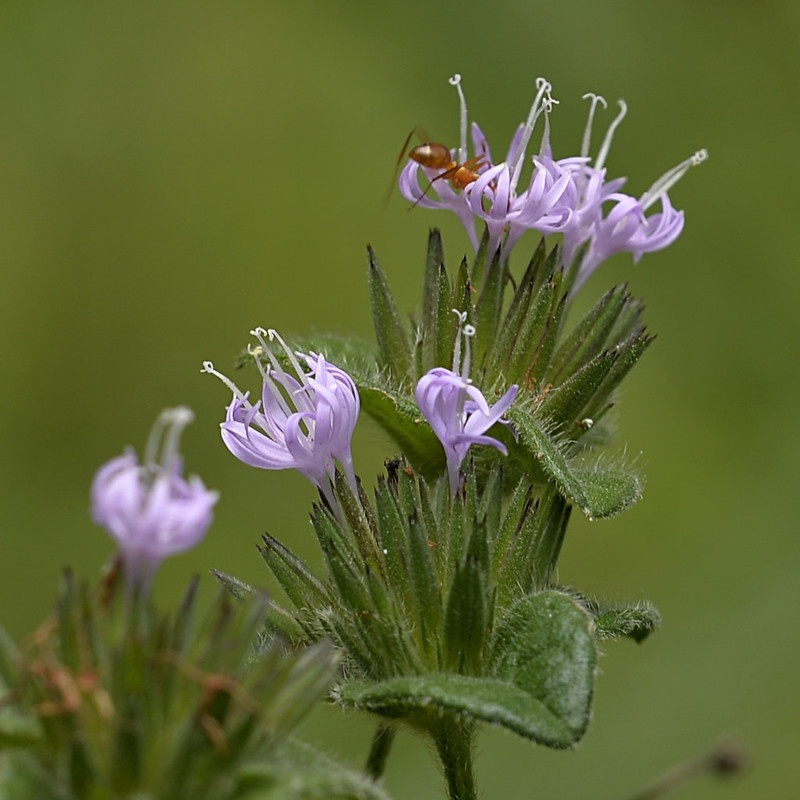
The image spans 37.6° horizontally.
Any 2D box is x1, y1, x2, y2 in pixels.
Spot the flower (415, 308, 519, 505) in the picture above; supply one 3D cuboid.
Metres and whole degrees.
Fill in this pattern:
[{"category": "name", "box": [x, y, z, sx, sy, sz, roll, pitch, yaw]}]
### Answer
[{"category": "flower", "box": [0.157, 0.015, 2.809, 0.211, 0.225, 0.499, -5, -63, -21]}]
